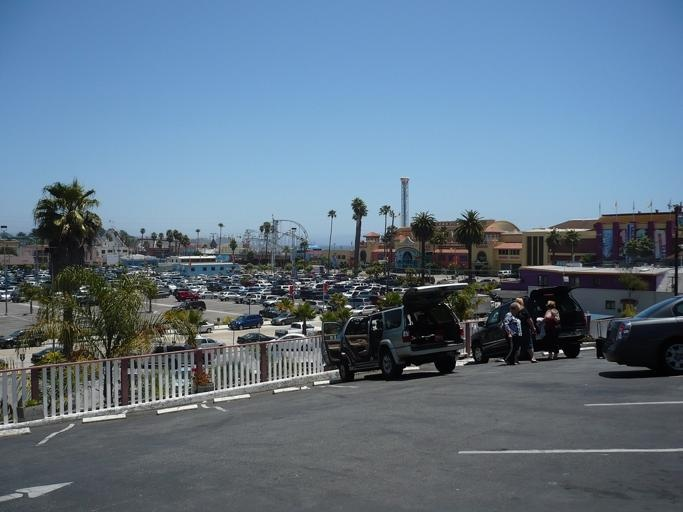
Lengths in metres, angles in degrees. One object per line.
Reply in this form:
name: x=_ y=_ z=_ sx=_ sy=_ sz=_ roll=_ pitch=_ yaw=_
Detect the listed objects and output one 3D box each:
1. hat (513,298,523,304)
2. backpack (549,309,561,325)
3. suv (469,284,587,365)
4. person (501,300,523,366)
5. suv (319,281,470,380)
hat: x=4.805 y=1.250 z=19.778 sx=0.167 sy=0.207 sz=0.226 roll=-7 pitch=10 yaw=1
backpack: x=5.874 y=1.686 z=20.213 sx=0.239 sy=0.387 sz=0.382 roll=-15 pitch=14 yaw=-35
suv: x=5.524 y=1.972 z=21.770 sx=1.982 sy=1.887 sz=3.231 roll=-1 pitch=-1 yaw=-34
person: x=4.615 y=2.102 z=19.673 sx=0.476 sy=1.300 sz=0.734 roll=-3 pitch=1 yaw=13
suv: x=1.360 y=2.027 z=19.472 sx=2.523 sy=1.709 sz=3.387 roll=-1 pitch=1 yaw=-32
